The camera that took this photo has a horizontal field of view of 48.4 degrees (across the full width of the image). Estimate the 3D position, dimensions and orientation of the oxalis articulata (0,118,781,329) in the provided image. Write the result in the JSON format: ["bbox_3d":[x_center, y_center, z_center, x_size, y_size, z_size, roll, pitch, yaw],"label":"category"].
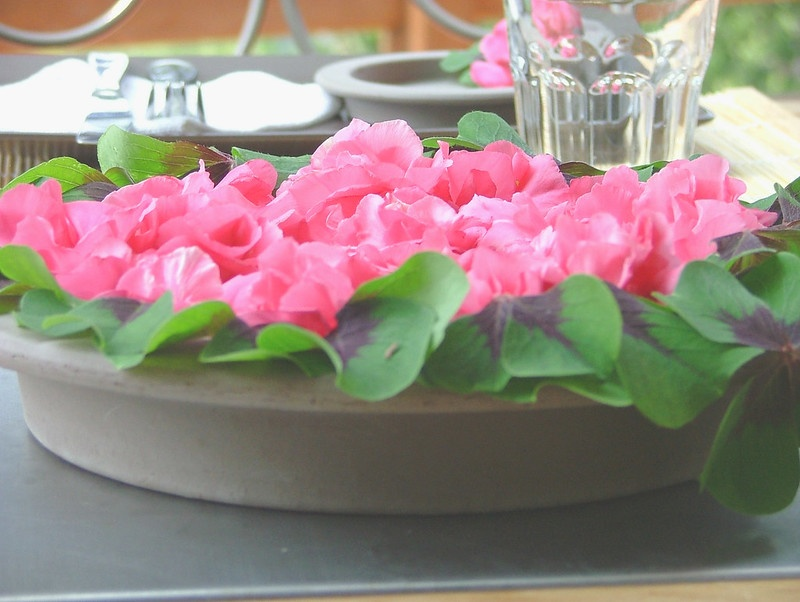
[{"bbox_3d":[-0.004,-0.031,0.324,0.282,0.054,0.101,1,24,1],"label":"oxalis articulata"}]
